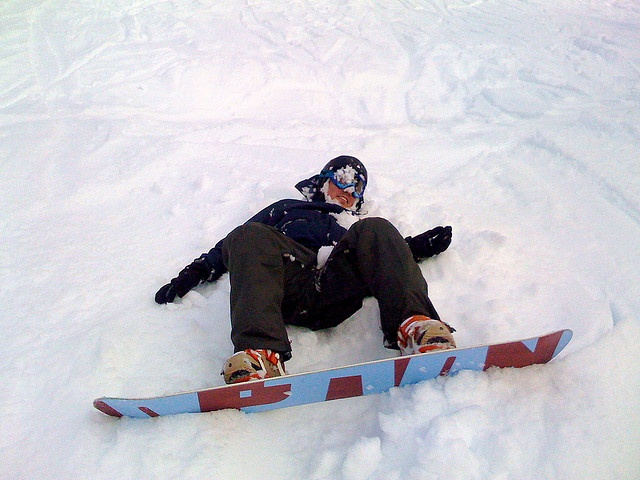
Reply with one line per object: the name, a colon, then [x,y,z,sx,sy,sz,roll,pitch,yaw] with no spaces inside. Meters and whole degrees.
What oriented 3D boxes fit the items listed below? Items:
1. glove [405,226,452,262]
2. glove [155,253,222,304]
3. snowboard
glove: [0.998,0.033,5.838,0.530,0.134,0.264,-20,67,11]
glove: [-1.276,0.393,5.684,0.157,0.172,0.574,39,60,22]
snowboard: [0.036,1.117,4.759,4.212,0.416,0.221,-5,30,-5]
